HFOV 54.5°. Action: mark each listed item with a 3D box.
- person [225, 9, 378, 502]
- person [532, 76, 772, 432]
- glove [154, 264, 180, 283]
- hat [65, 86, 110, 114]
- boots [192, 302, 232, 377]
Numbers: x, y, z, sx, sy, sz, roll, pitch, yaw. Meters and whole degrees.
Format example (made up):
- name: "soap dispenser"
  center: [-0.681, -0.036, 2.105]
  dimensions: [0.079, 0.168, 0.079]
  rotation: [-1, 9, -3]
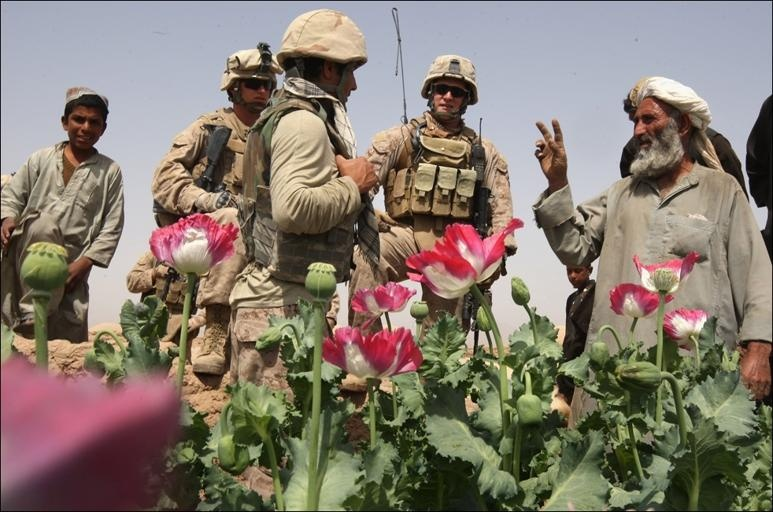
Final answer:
- name: "person"
  center: [-0.384, -0.280, 3.677]
  dimensions: [0.684, 1.841, 0.611]
  rotation: [4, -13, -8]
- name: "person"
  center: [1.493, -0.156, 4.163]
  dimensions: [1.134, 1.891, 0.683]
  rotation: [1, -13, 5]
- name: "glove"
  center: [-1.860, 0.161, 6.375]
  dimensions: [0.188, 0.111, 0.261]
  rotation: [12, -18, -15]
- name: "hat"
  center: [-2.574, -1.365, 6.494]
  dimensions: [0.334, 0.160, 0.357]
  rotation: [9, -16, -24]
- name: "boots"
  center: [-1.318, 0.645, 5.757]
  dimensions: [0.238, 0.543, 0.719]
  rotation: [0, 4, 0]
